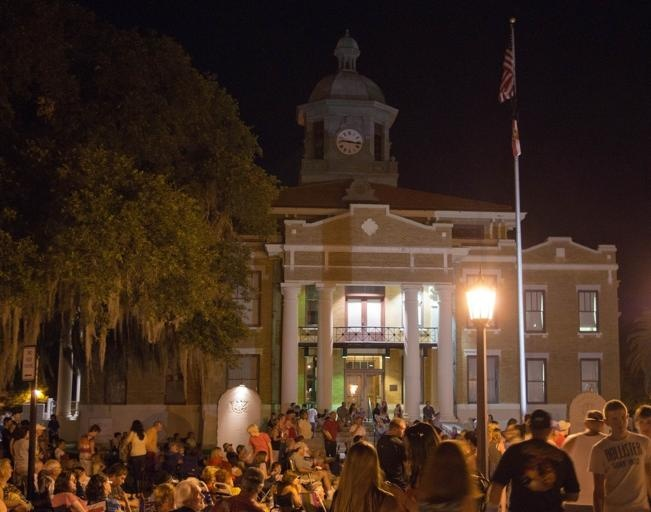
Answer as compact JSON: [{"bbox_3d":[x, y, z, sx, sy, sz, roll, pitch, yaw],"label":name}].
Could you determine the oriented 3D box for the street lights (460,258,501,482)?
[{"bbox_3d":[3.318,2.462,22.525,0.562,3.439,0.547,-2,8,3],"label":"street lights"}]
